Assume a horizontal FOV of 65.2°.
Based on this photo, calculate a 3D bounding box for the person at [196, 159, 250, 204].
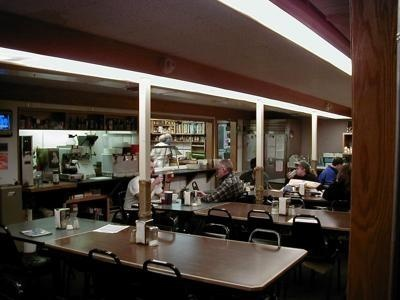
[{"bbox_3d":[0.500,0.588,6.034,0.695,1.260,0.812,6,5,30],"label":"person"}]

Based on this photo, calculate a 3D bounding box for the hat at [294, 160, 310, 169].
[{"bbox_3d":[2.397,0.317,7.138,0.338,0.223,0.343,2,4,42],"label":"hat"}]

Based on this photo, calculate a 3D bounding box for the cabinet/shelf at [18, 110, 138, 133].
[{"bbox_3d":[-2.798,-0.659,7.437,2.774,0.439,0.419,0,1,-43],"label":"cabinet/shelf"}]
